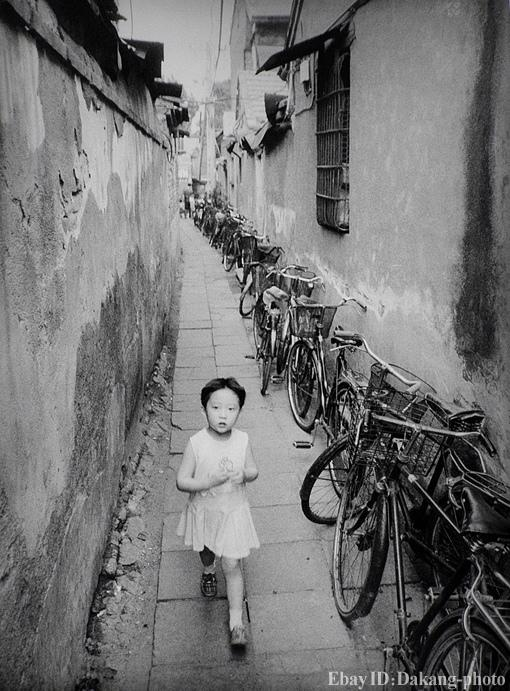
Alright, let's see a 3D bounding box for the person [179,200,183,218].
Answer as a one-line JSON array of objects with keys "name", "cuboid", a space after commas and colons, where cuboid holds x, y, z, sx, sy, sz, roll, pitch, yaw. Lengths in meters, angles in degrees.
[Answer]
[{"name": "person", "cuboid": [-4.550, -8.506, 33.568, 0.192, 0.981, 2.355, 0, 13, -11]}]
